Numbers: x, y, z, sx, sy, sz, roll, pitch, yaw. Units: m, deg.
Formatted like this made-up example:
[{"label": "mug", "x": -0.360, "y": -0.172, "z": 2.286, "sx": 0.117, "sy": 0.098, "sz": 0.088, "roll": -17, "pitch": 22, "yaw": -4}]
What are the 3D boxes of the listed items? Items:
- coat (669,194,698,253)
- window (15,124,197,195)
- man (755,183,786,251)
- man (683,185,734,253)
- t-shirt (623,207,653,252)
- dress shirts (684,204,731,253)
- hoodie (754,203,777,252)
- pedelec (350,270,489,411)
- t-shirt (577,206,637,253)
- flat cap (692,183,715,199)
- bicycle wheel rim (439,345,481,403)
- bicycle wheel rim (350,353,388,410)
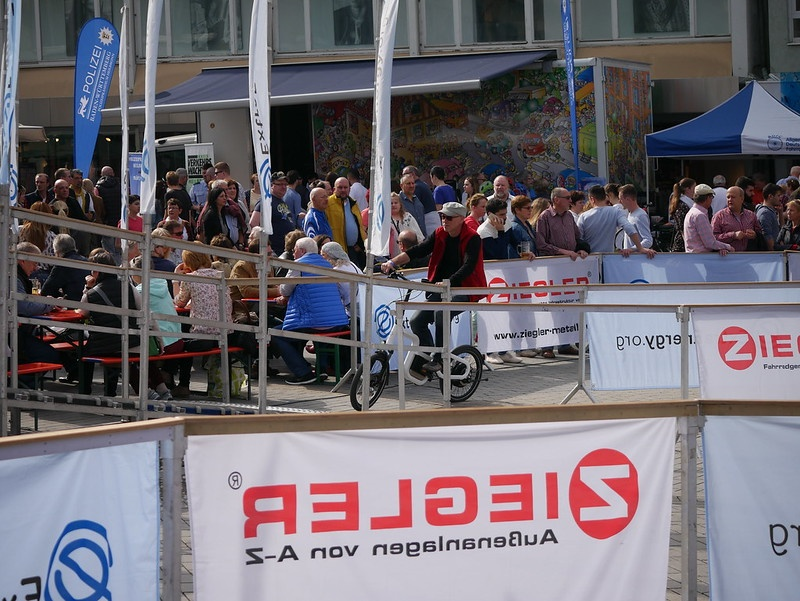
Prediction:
[{"label": "coat", "x": 4.184, "y": -1.122, "z": 28.789, "sx": 0.537, "sy": 1.089, "sz": 0.787, "roll": 0, "pitch": 5, "yaw": 13}, {"label": "window", "x": -6.030, "y": -2.703, "z": 39.467, "sx": 3.438, "sy": 1.446, "sz": 1.124, "roll": 8, "pitch": -16, "yaw": -8}, {"label": "man", "x": 5.595, "y": -0.894, "z": 28.868, "sx": 0.350, "sy": 1.516, "sz": 0.549, "roll": -1, "pitch": 11, "yaw": 16}, {"label": "man", "x": 4.507, "y": -1.100, "z": 28.082, "sx": 0.567, "sy": 1.081, "sz": 0.636, "roll": -20, "pitch": 24, "yaw": -24}, {"label": "t-shirt", "x": 3.513, "y": -0.982, "z": 28.316, "sx": 0.202, "sy": 0.458, "sz": 0.505, "roll": -19, "pitch": 23, "yaw": -24}, {"label": "dress shirts", "x": 4.482, "y": -0.957, "z": 27.873, "sx": 0.337, "sy": 0.658, "sz": 0.453, "roll": -13, "pitch": 21, "yaw": -15}, {"label": "hoodie", "x": 5.490, "y": -1.077, "z": 28.814, "sx": 0.321, "sy": 0.702, "sz": 0.598, "roll": -3, "pitch": 13, "yaw": 13}, {"label": "pedelec", "x": 0.271, "y": 0.558, "z": 24.474, "sx": 1.930, "sy": 1.637, "sz": 0.972, "roll": -3, "pitch": 19, "yaw": -27}, {"label": "t-shirt", "x": 3.033, "y": -0.951, "z": 27.972, "sx": 0.554, "sy": 0.500, "sz": 0.192, "roll": 1, "pitch": 11, "yaw": 16}, {"label": "flat cap", "x": 4.407, "y": -1.512, "z": 27.660, "sx": 0.181, "sy": 0.145, "sz": 0.247, "roll": 7, "pitch": 20, "yaw": 39}, {"label": "bicycle wheel rim", "x": 0.784, "y": 0.952, "z": 24.396, "sx": 0.603, "sy": 0.758, "sz": 0.215, "roll": -6, "pitch": 2, "yaw": -32}, {"label": "bicycle wheel rim", "x": -0.350, "y": 1.045, "z": 24.100, "sx": 0.103, "sy": 0.567, "sz": 0.548, "roll": 19, "pitch": 7, "yaw": 32}]
